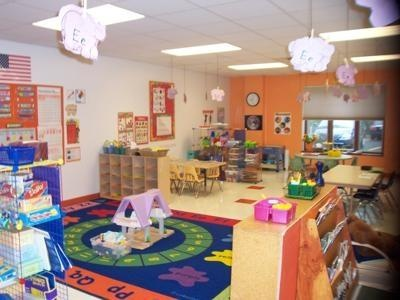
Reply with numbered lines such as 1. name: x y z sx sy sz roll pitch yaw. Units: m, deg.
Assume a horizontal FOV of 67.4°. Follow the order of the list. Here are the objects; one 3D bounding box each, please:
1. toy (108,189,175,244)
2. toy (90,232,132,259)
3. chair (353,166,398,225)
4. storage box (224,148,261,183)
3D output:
1. toy: -1.053 1.174 5.712 0.934 0.919 0.998 2 4 28
2. toy: -1.579 1.595 5.169 0.574 0.247 0.359 2 4 39
3. chair: 3.603 0.957 6.237 0.563 1.008 1.471 2 6 30
4. storage box: 1.477 0.485 10.154 1.051 1.010 0.349 3 6 26
